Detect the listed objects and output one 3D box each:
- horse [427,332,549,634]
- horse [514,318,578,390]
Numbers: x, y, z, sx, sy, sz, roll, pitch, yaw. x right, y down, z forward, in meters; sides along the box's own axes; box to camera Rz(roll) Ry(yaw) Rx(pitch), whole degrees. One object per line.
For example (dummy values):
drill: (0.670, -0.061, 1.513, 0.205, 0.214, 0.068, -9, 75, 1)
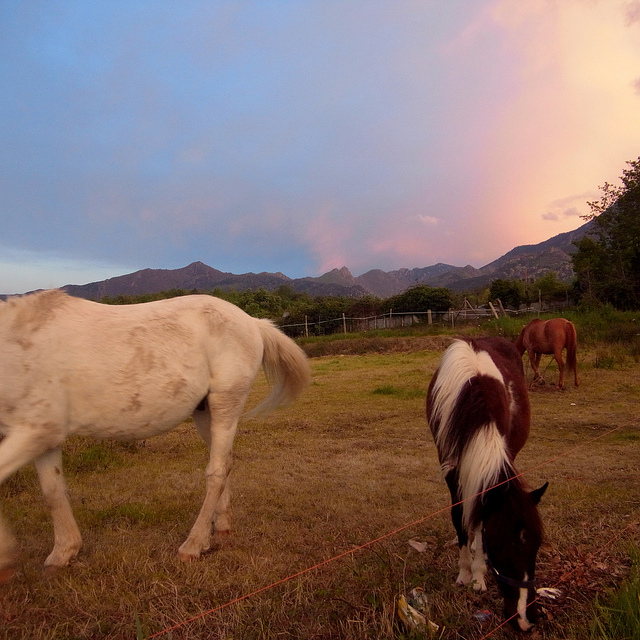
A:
horse: (1.143, 0.963, 3.184, 0.715, 1.641, 1.402, 0, 0, 22)
horse: (4.976, 0.718, 10.156, 0.493, 1.788, 2.188, -4, -6, -10)
